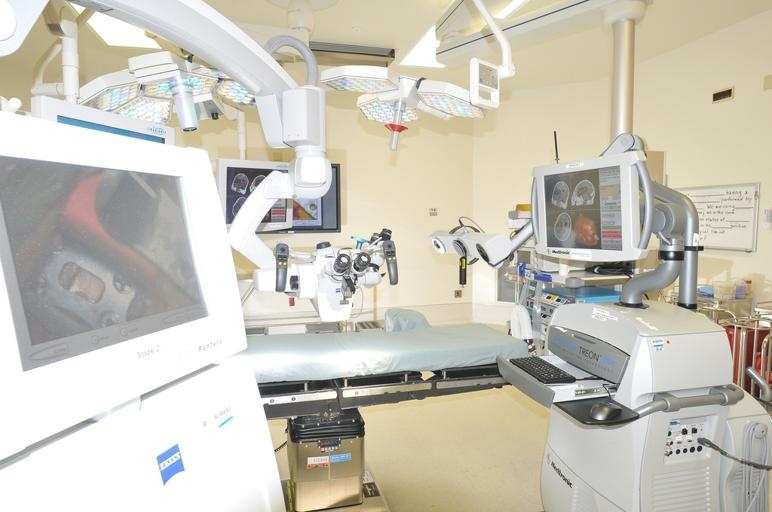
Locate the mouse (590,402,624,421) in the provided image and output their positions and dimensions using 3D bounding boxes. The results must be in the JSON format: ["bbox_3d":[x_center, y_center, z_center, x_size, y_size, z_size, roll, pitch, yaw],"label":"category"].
[{"bbox_3d":[0.855,0.600,2.030,0.103,0.039,0.132,7,11,42],"label":"mouse"}]

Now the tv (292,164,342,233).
[{"bbox_3d":[-0.700,-0.590,5.497,0.316,0.747,0.850,3,9,17],"label":"tv"}]

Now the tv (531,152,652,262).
[{"bbox_3d":[0.925,-0.212,2.358,0.084,0.484,0.689,-3,2,-31],"label":"tv"}]
